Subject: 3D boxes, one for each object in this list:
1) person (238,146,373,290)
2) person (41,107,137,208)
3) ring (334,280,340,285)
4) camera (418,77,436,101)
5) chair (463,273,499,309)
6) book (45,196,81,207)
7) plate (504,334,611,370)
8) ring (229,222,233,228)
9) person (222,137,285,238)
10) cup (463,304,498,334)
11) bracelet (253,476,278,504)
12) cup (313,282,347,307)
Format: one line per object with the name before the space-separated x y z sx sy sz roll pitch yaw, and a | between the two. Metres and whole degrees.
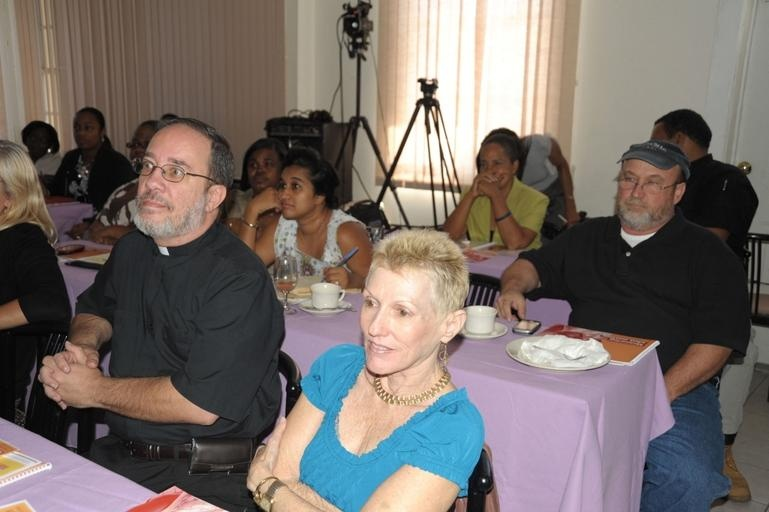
person | -0.447 -0.033 3.459 0.818 1.216 0.518 8 9 19
person | -2.866 -0.897 5.503 0.908 1.027 0.504 3 -1 0
ring | -0.242 0.136 2.853 0.017 0.025 0.007 -3 -3 -1
camera | 0.445 -1.708 5.656 0.171 0.190 0.235 0 19 5
chair | 0.541 0.190 3.069 0.210 0.292 0.217 2 3 13
book | -2.593 -0.443 4.451 0.183 0.047 0.171 -4 10 -41
plate | 0.661 0.372 2.149 0.186 0.038 0.195 -4 9 -14
ring | -1.094 -0.221 3.994 0.028 0.023 0.030 -2 -14 0
person | -0.945 -0.560 4.453 0.492 0.761 0.409 9 4 -5
cup | 0.409 0.272 2.370 0.117 0.099 0.130 -1 2 -8
bracelet | -0.347 0.664 1.604 0.025 0.073 0.072 22 16 13
cup | -0.266 0.183 2.602 0.094 0.075 0.117 -1 -2 16
